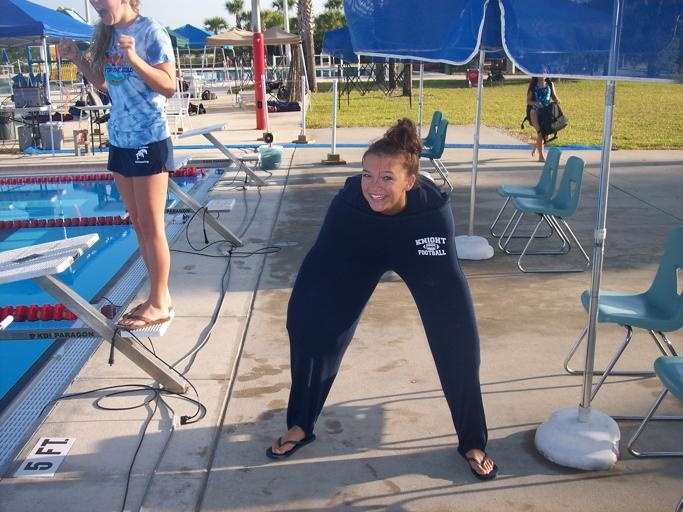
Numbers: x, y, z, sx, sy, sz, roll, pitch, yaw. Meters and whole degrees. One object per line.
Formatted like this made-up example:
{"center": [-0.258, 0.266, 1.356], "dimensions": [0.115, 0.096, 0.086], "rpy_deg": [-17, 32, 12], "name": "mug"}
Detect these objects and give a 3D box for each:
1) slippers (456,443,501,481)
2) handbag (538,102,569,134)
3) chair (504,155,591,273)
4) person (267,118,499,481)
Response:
{"center": [0.807, 1.189, 3.674], "dimensions": [0.185, 0.123, 0.215], "rpy_deg": [-9, 20, -14], "name": "slippers"}
{"center": [3.858, -2.604, 11.970], "dimensions": [0.729, 0.611, 0.360], "rpy_deg": [-16, 15, -23], "name": "handbag"}
{"center": [2.212, -0.418, 6.774], "dimensions": [0.962, 1.043, 0.878], "rpy_deg": [-6, 6, 0], "name": "chair"}
{"center": [0.232, 0.243, 3.669], "dimensions": [1.279, 1.964, 0.699], "rpy_deg": [-1, 21, 9], "name": "person"}
